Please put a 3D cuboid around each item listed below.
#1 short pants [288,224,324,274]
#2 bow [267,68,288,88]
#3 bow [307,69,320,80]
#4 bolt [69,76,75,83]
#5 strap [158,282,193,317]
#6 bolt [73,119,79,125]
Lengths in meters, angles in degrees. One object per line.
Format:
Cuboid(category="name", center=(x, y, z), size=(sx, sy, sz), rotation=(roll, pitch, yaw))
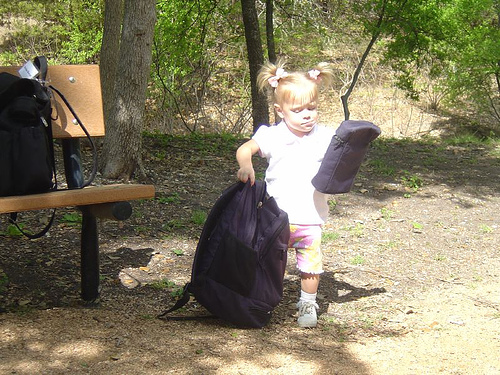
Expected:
Cuboid(category="short pants", center=(0.445, 0.480, 4.378), size=(0.289, 0.398, 0.190), rotation=(5, 16, 4))
Cuboid(category="bow", center=(0.222, -0.863, 4.401), size=(0.047, 0.152, 0.148), rotation=(23, 28, -49))
Cuboid(category="bow", center=(0.508, -0.905, 4.404), size=(0.078, 0.079, 0.097), rotation=(10, 16, 21))
Cuboid(category="bolt", center=(-1.499, -0.916, 4.665), size=(0.046, 0.052, 0.021), rotation=(-3, 18, -23))
Cuboid(category="strap", center=(-0.542, 0.862, 4.194), size=(0.297, 0.097, 0.212), rotation=(-27, 11, 15))
Cuboid(category="bolt", center=(-1.441, -0.544, 4.580), size=(0.051, 0.043, 0.025), rotation=(-5, 3, 5))
